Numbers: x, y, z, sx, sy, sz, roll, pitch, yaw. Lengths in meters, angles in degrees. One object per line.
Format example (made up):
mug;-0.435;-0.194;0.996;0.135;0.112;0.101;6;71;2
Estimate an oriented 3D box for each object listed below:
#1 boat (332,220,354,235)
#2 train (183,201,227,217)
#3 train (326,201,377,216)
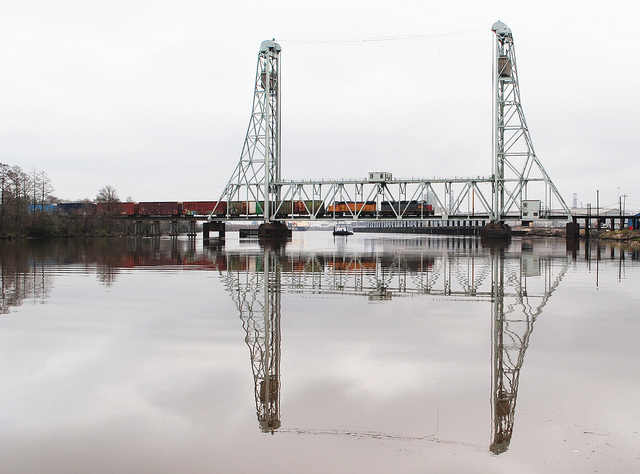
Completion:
boat;3.279;-1.515;138.837;2.191;2.897;7.121;0;-3;4
train;-12.219;-2.943;94.451;3.323;1.951;13.482;0;0;-14
train;2.981;-2.782;87.997;4.765;1.536;12.362;0;0;1
